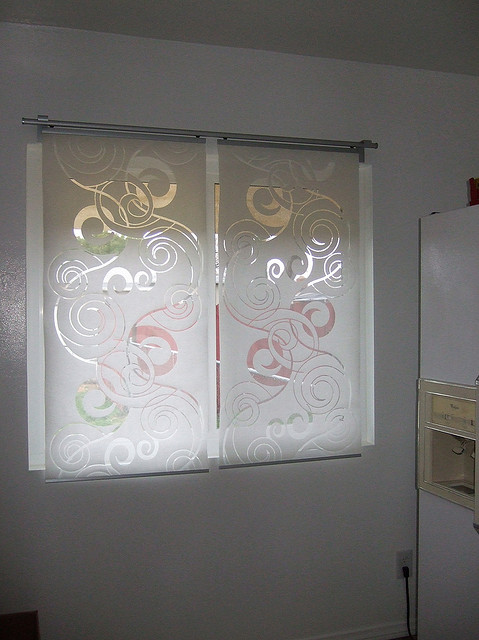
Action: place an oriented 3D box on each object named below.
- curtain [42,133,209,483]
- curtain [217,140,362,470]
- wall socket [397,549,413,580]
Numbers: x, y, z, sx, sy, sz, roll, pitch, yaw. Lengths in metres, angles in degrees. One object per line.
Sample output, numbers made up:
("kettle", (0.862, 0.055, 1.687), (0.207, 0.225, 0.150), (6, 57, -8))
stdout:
("curtain", (-0.445, -0.080, 2.625), (0.051, 1.407, 0.858), (6, 8, 44))
("curtain", (0.231, -0.078, 2.763), (0.795, 1.393, 0.042), (-2, 3, -33))
("wall socket", (0.766, 1.126, 2.952), (0.089, 0.131, 0.010), (0, -5, -22))
